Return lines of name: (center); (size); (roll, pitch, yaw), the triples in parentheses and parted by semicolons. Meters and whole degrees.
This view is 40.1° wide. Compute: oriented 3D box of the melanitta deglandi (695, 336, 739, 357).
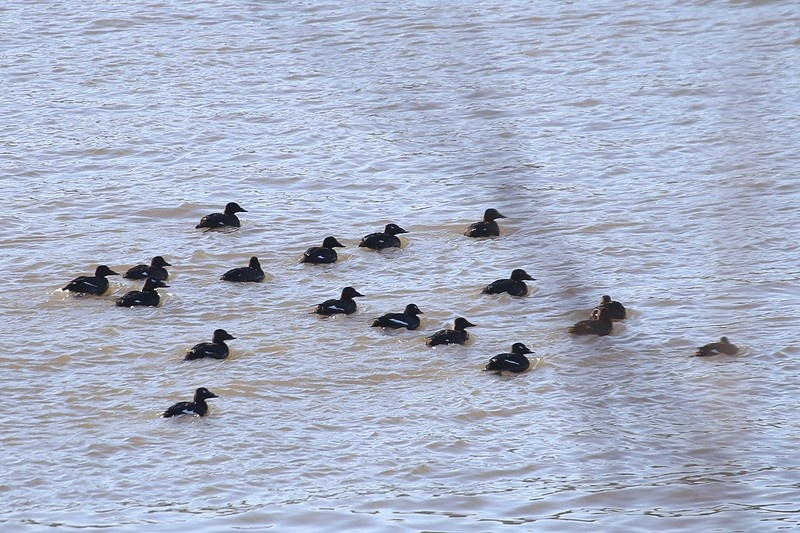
melanitta deglandi: (7.335, 1.866, 25.347); (1.279, 0.452, 0.248); (-4, 99, -4)

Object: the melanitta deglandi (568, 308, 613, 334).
melanitta deglandi: (4.832, 1.383, 26.475); (0.791, 0.195, 1.014); (34, 72, 16)
